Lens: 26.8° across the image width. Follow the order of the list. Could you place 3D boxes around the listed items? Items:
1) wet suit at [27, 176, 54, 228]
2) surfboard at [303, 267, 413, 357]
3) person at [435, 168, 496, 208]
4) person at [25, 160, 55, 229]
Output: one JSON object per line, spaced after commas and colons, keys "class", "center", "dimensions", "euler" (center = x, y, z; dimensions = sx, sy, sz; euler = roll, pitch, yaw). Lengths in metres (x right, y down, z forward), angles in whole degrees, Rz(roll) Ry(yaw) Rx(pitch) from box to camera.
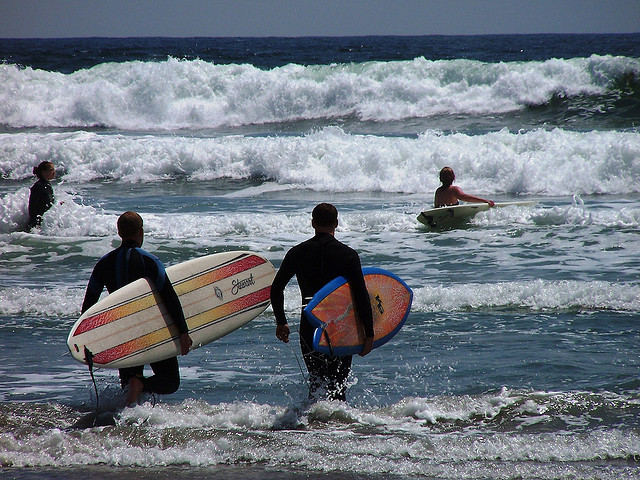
{"class": "wet suit", "center": [-6.404, -0.917, 30.909], "dimensions": [0.675, 1.326, 0.436], "euler": [18, 25, 40]}
{"class": "surfboard", "center": [0.790, 1.288, 25.824], "dimensions": [2.748, 1.615, 0.388], "euler": [-21, 8, -37]}
{"class": "person", "center": [3.705, -1.320, 33.589], "dimensions": [1.192, 1.173, 0.372], "euler": [19, 64, 31]}
{"class": "person", "center": [-6.322, -1.058, 30.709], "dimensions": [0.523, 1.756, 0.872], "euler": [-7, 21, -23]}
